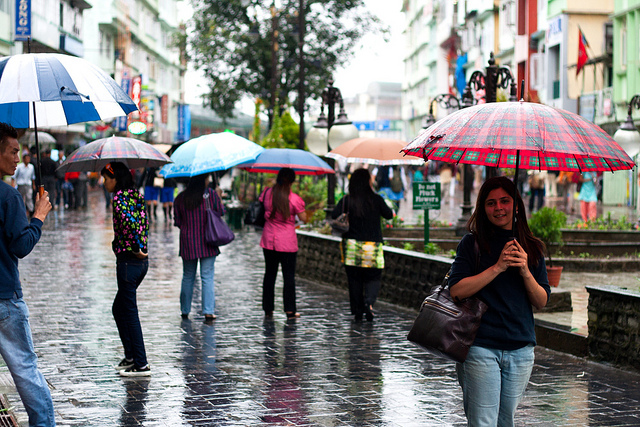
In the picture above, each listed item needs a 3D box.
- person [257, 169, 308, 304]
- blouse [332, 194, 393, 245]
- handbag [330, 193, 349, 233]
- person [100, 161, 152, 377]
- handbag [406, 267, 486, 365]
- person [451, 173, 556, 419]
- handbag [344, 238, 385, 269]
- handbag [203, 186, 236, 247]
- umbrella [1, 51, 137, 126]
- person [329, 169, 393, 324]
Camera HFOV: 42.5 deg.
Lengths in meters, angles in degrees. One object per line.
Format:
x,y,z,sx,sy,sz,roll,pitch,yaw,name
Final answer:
-0.559,0.366,12.028,0.692,2.017,0.669,0,7,2,person
0.581,0.015,11.779,0.852,0.824,0.488,3,24,9,blouse
0.287,0.010,11.662,0.239,0.529,0.251,0,7,1,handbag
-2.155,0.596,9.226,0.471,2.321,0.784,-3,7,-16,person
1.045,0.756,6.547,0.544,0.744,0.319,11,-17,48,handbag
1.421,0.650,6.516,0.771,1.869,0.470,-4,8,-25,person
0.633,0.611,11.949,0.623,0.446,0.630,2,-5,-12,handbag
-1.443,0.069,11.709,0.413,0.854,0.486,-2,7,-9,handbag
-2.688,-1.163,8.043,0.996,0.415,0.980,-5,-1,-42,umbrella
0.585,0.429,11.704,0.832,2.136,0.537,0,7,4,person
